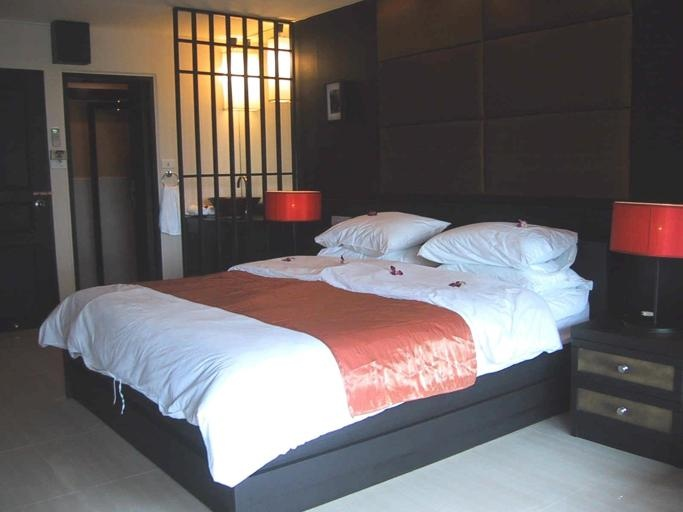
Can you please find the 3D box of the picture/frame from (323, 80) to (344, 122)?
[{"bbox_3d":[-0.065,-1.549,5.199,0.027,0.331,0.291,12,28,31],"label":"picture/frame"}]

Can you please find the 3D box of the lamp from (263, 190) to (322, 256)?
[{"bbox_3d":[-0.491,-0.234,5.277,0.533,0.841,0.524,-2,11,-10],"label":"lamp"}]

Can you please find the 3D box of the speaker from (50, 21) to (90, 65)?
[{"bbox_3d":[-2.699,-2.123,5.158,0.414,0.393,0.214,-3,3,-36],"label":"speaker"}]
